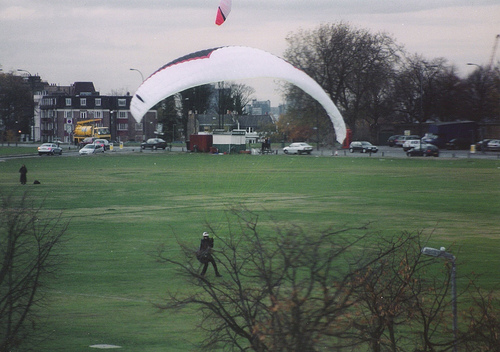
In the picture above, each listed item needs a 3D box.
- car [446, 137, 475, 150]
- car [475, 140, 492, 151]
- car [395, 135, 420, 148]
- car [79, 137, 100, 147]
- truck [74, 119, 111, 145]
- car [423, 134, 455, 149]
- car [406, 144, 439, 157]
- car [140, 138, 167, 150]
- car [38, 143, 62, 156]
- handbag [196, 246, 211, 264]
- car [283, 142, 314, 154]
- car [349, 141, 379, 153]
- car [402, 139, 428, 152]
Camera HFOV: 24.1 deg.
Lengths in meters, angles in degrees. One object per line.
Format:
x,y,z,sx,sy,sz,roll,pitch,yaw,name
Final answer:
24.260,-3.713,135.472,2.689,1.084,1.408,3,4,-6,car
26.278,-3.482,132.580,1.775,0.706,0.870,-7,10,-33,car
20.035,-4.504,147.925,2.345,0.976,1.312,-3,7,-2,car
-20.157,-3.992,146.423,1.686,0.688,2.492,1,8,13,car
-21.694,-5.981,160.181,2.438,3.255,6.696,-11,10,-43,truck
21.569,-4.022,135.673,2.587,1.137,1.602,-1,3,-20,car
18.301,-2.597,122.530,2.369,0.954,1.449,8,8,42,car
-11.767,-3.871,142.670,2.414,0.880,1.450,3,4,6,car
-21.718,-2.888,126.900,1.143,0.746,2.525,0,5,13,car
-2.957,5.169,75.912,0.941,0.898,1.067,-1,-11,-4,handbag
5.557,-3.151,133.636,2.814,0.849,1.416,9,11,44,car
13.157,-3.318,135.016,1.552,1.060,2.962,-2,1,-43,car
18.596,-3.434,133.446,2.203,0.932,1.253,-5,7,6,car
